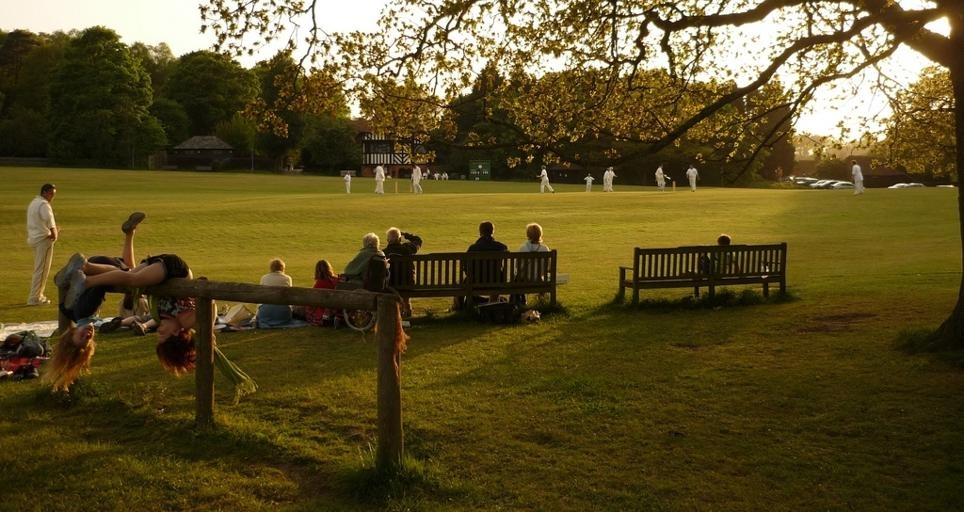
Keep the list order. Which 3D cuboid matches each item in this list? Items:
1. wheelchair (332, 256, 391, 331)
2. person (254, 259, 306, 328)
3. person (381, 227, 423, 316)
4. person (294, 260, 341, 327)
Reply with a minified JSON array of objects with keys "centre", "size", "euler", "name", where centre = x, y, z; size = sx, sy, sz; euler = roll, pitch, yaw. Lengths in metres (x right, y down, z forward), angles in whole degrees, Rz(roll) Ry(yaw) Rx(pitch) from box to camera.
[{"centre":[-2.797,0.853,19.279],"size":[1.523,2.120,1.028],"euler":[0,1,-1],"name":"wheelchair"},{"centre":[-4.887,0.809,20.220],"size":[1.103,1.439,1.064],"euler":[0,5,-8],"name":"person"},{"centre":[-1.905,0.315,20.319],"size":[1.085,2.037,0.916],"euler":[0,0,-11],"name":"person"},{"centre":[-4.067,0.839,20.463],"size":[1.261,1.595,1.279],"euler":[1,7,-20],"name":"person"}]
